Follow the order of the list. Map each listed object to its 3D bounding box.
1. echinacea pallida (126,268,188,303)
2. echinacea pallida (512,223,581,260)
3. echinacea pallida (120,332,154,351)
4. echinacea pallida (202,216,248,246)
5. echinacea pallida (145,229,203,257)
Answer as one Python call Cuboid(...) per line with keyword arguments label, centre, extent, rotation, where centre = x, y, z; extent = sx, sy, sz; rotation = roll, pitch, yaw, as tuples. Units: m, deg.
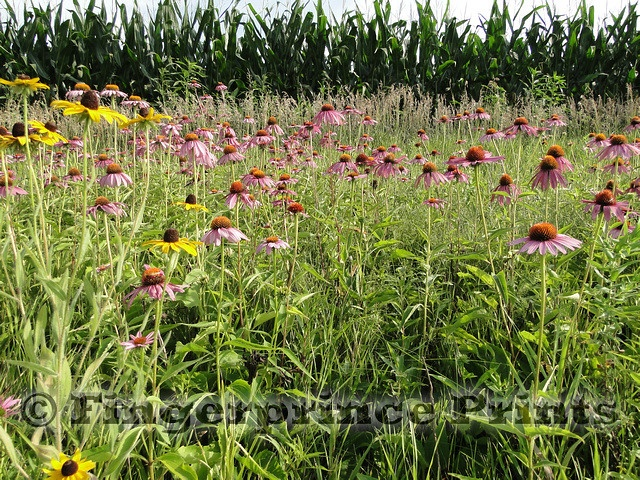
Cuboid(label="echinacea pallida", centre=(-0.918, 0.234, 3.099), extent=(0.288, 0.125, 0.322), rotation=(-6, 8, 12))
Cuboid(label="echinacea pallida", centre=(1.186, 0.005, 2.941), extent=(0.318, 0.194, 0.240), rotation=(-3, 10, -23))
Cuboid(label="echinacea pallida", centre=(-0.974, 0.543, 2.995), extent=(0.133, 0.044, 0.138), rotation=(-5, 30, -39))
Cuboid(label="echinacea pallida", centre=(-0.570, -0.057, 3.309), extent=(0.233, 0.160, 0.221), rotation=(-1, 9, -10))
Cuboid(label="echinacea pallida", centre=(-0.774, 0.053, 2.954), extent=(0.184, 0.079, 0.215), rotation=(13, 24, 4))
